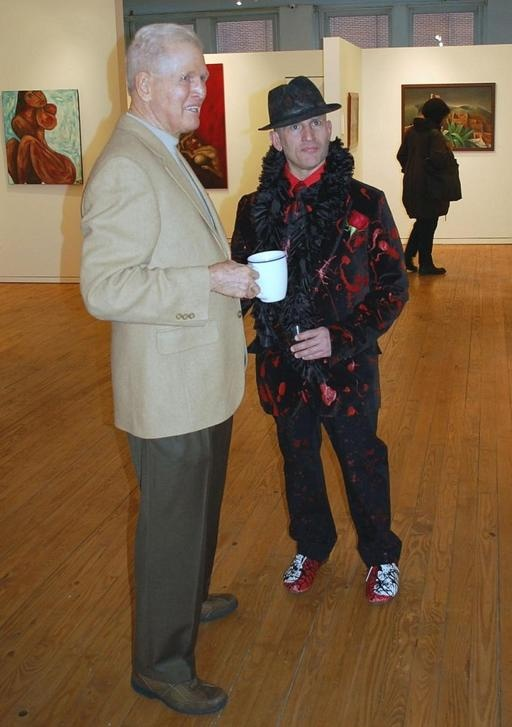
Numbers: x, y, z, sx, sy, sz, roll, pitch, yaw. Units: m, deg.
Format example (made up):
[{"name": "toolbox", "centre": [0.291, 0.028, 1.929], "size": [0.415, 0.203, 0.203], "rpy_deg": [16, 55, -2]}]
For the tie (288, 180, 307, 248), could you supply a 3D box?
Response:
[{"name": "tie", "centre": [0.122, -0.442, 1.675], "size": [0.056, 0.207, 0.106], "rpy_deg": [-2, 12, 4]}]

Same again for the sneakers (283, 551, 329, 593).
[{"name": "sneakers", "centre": [0.174, 0.725, 2.017], "size": [0.070, 0.070, 0.182], "rpy_deg": [-30, 8, 28]}]

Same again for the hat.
[{"name": "hat", "centre": [0.121, -0.705, 1.618], "size": [0.190, 0.081, 0.208], "rpy_deg": [-27, 21, -23]}]

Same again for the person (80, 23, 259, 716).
[{"name": "person", "centre": [-0.164, 0.087, 1.302], "size": [0.368, 1.613, 0.449], "rpy_deg": [-4, 12, -9]}]

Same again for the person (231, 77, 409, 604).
[{"name": "person", "centre": [0.188, -0.003, 1.777], "size": [0.566, 1.602, 0.493], "rpy_deg": [0, 15, 13]}]

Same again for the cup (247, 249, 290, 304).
[{"name": "cup", "centre": [0.005, -0.211, 1.355], "size": [0.125, 0.112, 0.081], "rpy_deg": [-14, 26, -1]}]

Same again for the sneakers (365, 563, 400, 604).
[{"name": "sneakers", "centre": [0.427, 0.738, 1.892], "size": [0.103, 0.121, 0.045], "rpy_deg": [-5, -19, 15]}]

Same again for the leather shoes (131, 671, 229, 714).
[{"name": "leather shoes", "centre": [-0.187, 0.826, 1.401], "size": [0.221, 0.089, 0.101], "rpy_deg": [2, 7, 2]}]
